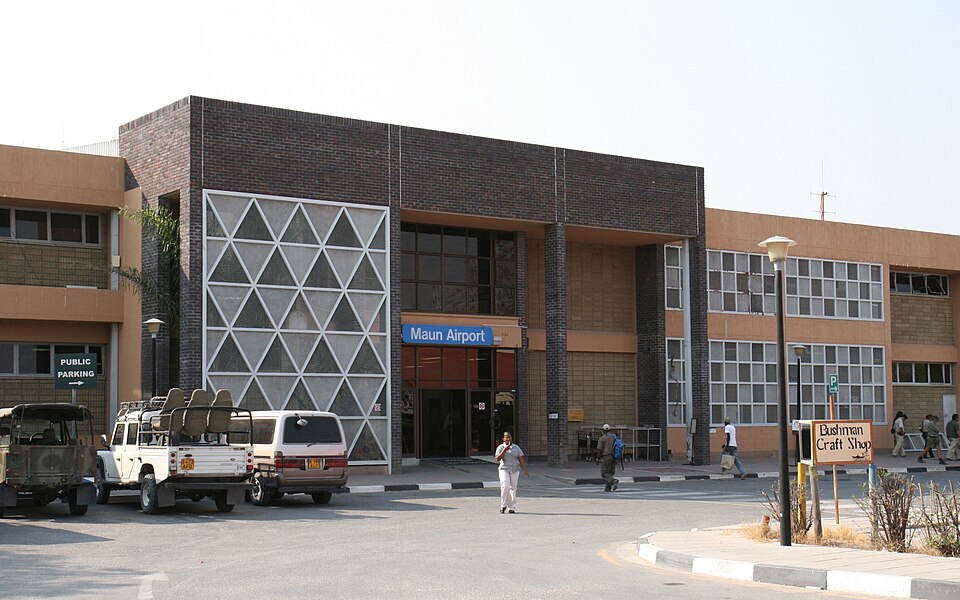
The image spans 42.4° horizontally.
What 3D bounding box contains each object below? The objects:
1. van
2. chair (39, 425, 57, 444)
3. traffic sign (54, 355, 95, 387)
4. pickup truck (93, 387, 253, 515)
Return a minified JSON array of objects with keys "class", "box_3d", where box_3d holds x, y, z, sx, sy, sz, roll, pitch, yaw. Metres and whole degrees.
[{"class":"van","box_3d":[-5.870,4.798,37.938,2.758,2.455,4.889,1,-6,-25]},{"class":"chair","box_3d":[-12.400,3.871,35.290,0.451,0.419,0.452,0,-4,4]},{"class":"traffic sign","box_3d":[-13.625,2.372,41.347,1.149,0.913,0.163,-1,0,-9]},{"class":"pickup truck","box_3d":[-9.114,4.572,36.300,3.124,2.910,5.824,7,-8,-41]}]
